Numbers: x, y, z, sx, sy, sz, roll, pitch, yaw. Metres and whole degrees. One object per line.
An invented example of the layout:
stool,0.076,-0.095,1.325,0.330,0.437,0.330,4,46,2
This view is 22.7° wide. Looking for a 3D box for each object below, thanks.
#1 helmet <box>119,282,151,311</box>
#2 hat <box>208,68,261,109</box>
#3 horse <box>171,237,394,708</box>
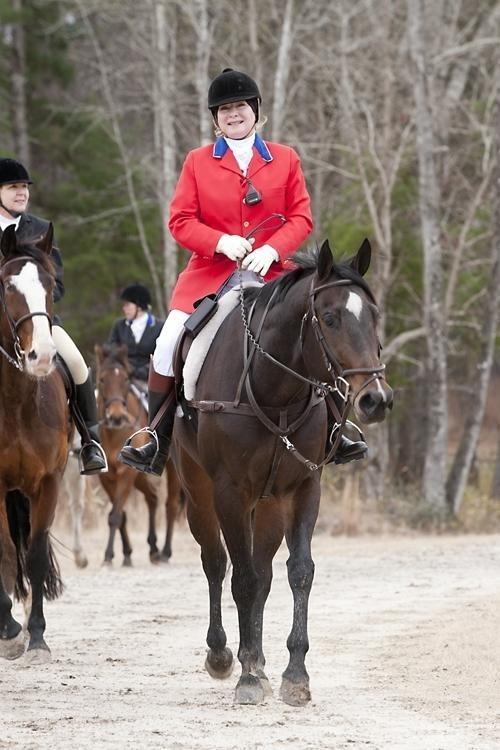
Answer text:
helmet,-1.277,-0.896,13.950,0.287,0.297,0.314,1,-31,-1
hat,-0.096,-1.591,6.943,0.215,0.173,0.270,-13,-2,5
horse,0.098,0.545,6.535,0.730,2.562,1.953,3,7,-18
